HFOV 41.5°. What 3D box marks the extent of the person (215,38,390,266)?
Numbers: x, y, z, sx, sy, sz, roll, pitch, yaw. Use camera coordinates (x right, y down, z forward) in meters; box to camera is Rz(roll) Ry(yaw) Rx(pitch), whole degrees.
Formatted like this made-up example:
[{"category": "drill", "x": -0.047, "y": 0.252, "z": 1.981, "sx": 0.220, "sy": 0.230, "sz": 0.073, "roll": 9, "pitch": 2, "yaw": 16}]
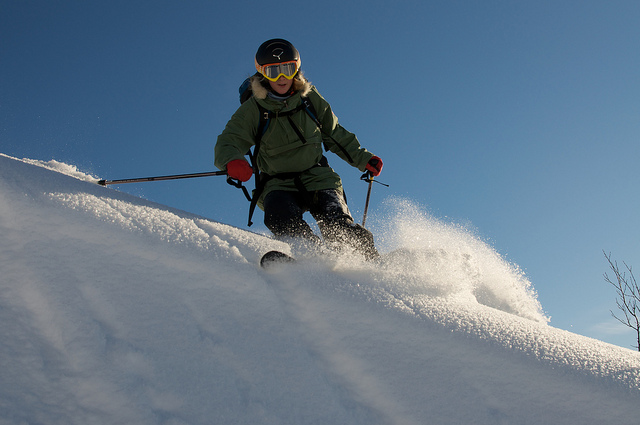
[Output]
[{"category": "person", "x": -0.283, "y": -0.342, "z": 7.145, "sx": 1.188, "sy": 1.841, "sz": 0.947, "roll": -18, "pitch": -37, "yaw": -19}]
